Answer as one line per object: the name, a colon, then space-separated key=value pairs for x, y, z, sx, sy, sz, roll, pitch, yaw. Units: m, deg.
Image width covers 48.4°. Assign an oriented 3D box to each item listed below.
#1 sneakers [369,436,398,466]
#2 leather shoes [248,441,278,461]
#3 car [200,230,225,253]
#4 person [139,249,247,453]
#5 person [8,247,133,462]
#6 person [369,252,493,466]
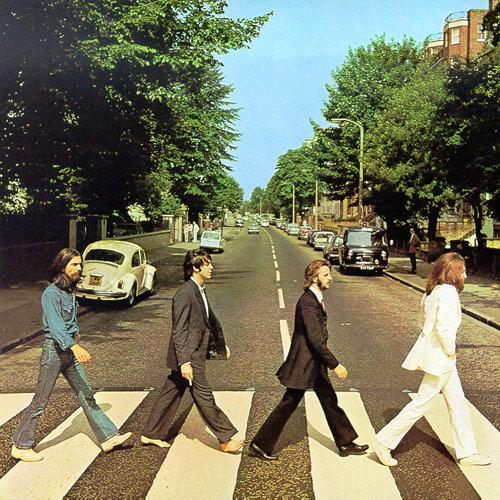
sneakers: x=1.103 y=1.622 z=4.505 sx=0.194 sy=0.213 sz=0.120 roll=5 pitch=7 yaw=39
leather shoes: x=0.090 y=1.652 z=4.602 sx=0.263 sy=0.122 sz=0.097 roll=22 pitch=17 yaw=0
car: x=-2.529 y=-0.334 z=36.326 sx=1.421 sy=1.377 sz=2.752 roll=2 pitch=13 yaw=4
person: x=-0.508 y=0.868 z=4.803 sx=0.869 sy=1.707 sz=0.579 roll=0 pitch=5 yaw=-8
person: x=-1.576 y=0.859 z=4.691 sx=0.863 sy=1.709 sz=0.522 roll=-2 pitch=6 yaw=-26
person: x=1.563 y=0.902 z=4.641 sx=0.870 sy=1.730 sz=0.896 roll=3 pitch=6 yaw=25
